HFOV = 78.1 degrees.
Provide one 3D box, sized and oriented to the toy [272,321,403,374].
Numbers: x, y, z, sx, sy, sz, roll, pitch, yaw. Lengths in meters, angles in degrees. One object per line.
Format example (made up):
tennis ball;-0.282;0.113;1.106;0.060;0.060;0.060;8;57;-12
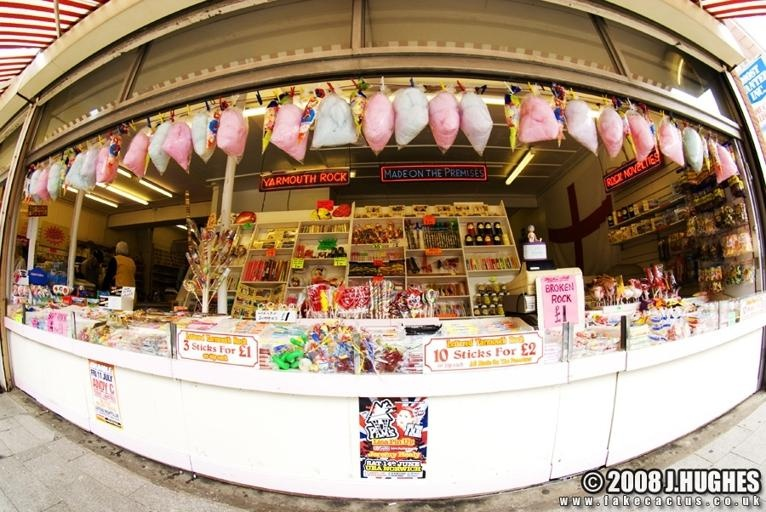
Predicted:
toy;-0.403;0.829;4.073;0.776;0.233;0.526;1;-6;1

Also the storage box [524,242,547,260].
storage box;1.510;-0.035;4.715;0.227;0.182;0.173;-2;-9;10

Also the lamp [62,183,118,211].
lamp;-5.717;-1.155;9.193;0.881;0.190;0.144;18;10;-17

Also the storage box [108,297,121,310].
storage box;-2.750;0.477;4.850;0.140;0.130;0.136;-2;1;3
